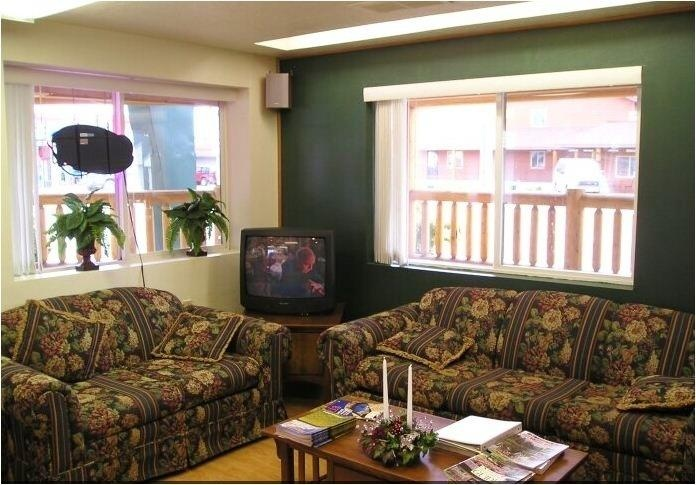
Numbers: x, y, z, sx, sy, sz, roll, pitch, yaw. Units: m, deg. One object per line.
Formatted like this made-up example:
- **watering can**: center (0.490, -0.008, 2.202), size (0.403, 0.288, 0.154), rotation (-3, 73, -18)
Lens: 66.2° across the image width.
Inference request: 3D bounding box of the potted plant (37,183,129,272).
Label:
- **potted plant**: center (-2.340, -0.124, 4.744), size (0.622, 0.718, 0.736), rotation (-2, 4, -36)

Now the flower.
- **flower**: center (0.263, 1.087, 2.954), size (0.431, 0.222, 0.220), rotation (-1, 6, 6)

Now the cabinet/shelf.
- **cabinet/shelf**: center (-0.451, 0.941, 4.895), size (0.921, 0.851, 0.767), rotation (0, 4, 5)

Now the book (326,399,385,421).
- **book**: center (0.040, 1.054, 3.363), size (0.224, 0.055, 0.236), rotation (0, -1, 40)

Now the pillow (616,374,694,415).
- **pillow**: center (1.945, 0.964, 3.392), size (0.421, 0.164, 0.292), rotation (1, 6, 28)

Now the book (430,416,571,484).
- **book**: center (0.794, 1.154, 2.955), size (0.633, 0.136, 0.659), rotation (2, 6, 36)

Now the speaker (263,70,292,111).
- **speaker**: center (-0.726, -1.576, 5.553), size (0.275, 0.338, 0.163), rotation (-3, 6, -9)

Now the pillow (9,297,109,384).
- **pillow**: center (-2.028, 0.690, 3.728), size (0.550, 0.562, 0.259), rotation (-2, 6, 0)

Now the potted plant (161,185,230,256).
- **potted plant**: center (-1.508, -0.245, 5.331), size (0.673, 0.614, 0.613), rotation (-8, 13, -40)
